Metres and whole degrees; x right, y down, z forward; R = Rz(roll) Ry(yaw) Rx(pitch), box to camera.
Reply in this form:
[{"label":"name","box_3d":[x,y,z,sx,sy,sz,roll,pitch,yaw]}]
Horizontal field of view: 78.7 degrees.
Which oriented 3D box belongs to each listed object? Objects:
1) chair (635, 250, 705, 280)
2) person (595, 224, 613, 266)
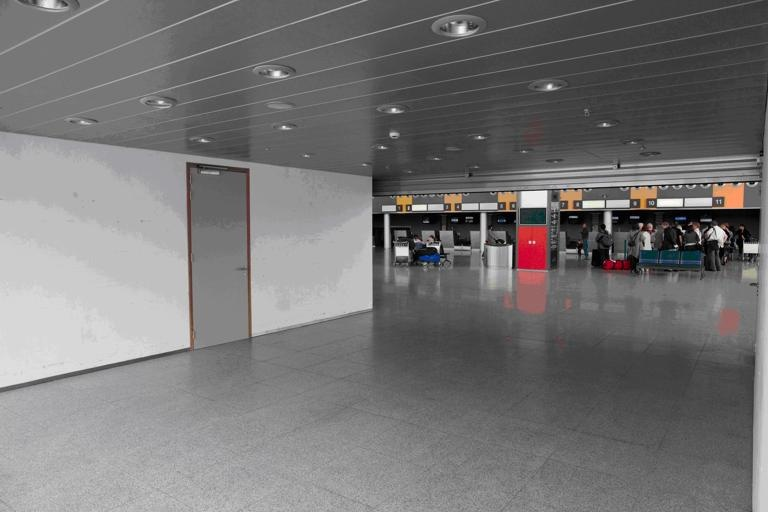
[{"label":"chair","box_3d":[10.703,0.174,17.541,2.021,1.001,2.629,3,8,29]},{"label":"person","box_3d":[9.447,-0.407,20.110,0.599,1.428,1.176,3,8,24]}]
